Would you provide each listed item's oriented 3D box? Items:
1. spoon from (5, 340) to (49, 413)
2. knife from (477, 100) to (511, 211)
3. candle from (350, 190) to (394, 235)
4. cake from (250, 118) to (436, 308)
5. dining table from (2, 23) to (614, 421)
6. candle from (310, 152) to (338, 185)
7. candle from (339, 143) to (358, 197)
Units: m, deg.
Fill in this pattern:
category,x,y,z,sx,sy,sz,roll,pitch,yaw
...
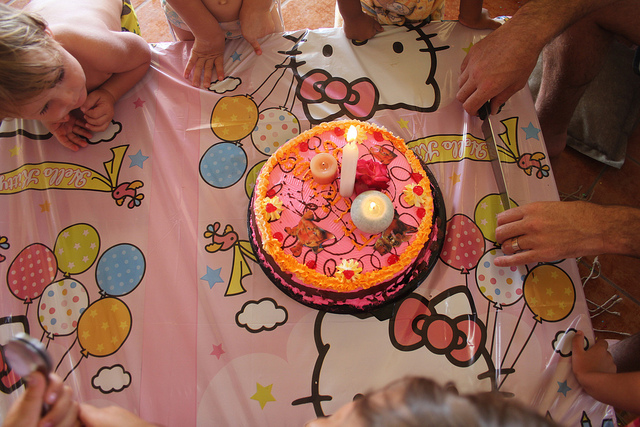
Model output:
category,x,y,z,sx,sy,sz,roll,pitch,yaw
spoon,-1.594,0.806,3.022,0.198,0.263,0.105,10,43,13
knife,1.290,-0.404,4.180,0.109,0.044,1.101,0,77,-22
candle,0.349,-0.013,3.684,0.238,0.153,0.260,35,80,8
cake,0.172,0.222,4.231,1.088,1.265,1.356,0,75,0
dining table,-0.188,0.119,3.998,2.888,0.763,2.576,-2,85,1
candle,-0.026,-0.314,3.937,0.223,0.254,0.158,5,82,-11
candle,0.187,-0.277,3.727,0.124,0.392,0.101,-2,41,0
